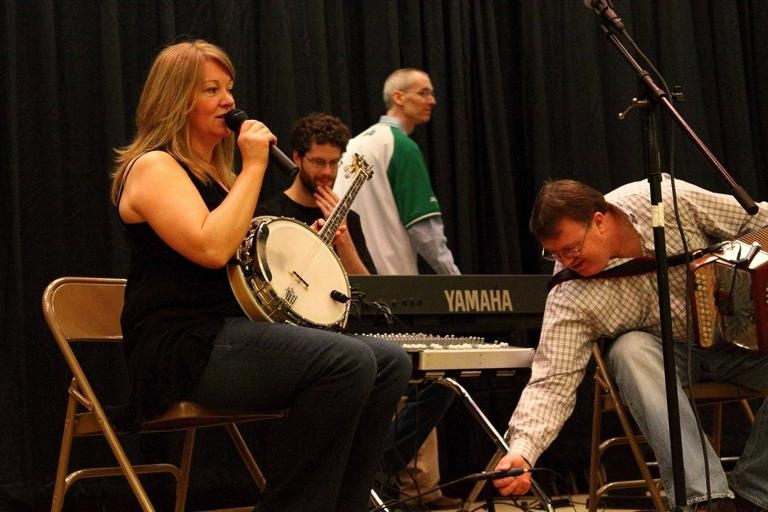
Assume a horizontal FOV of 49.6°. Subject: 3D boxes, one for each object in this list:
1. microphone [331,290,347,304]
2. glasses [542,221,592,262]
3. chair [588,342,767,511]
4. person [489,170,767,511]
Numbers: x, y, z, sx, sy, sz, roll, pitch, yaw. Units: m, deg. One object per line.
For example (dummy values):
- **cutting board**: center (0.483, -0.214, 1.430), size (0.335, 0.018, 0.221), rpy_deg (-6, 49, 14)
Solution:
- **microphone**: center (-0.176, 0.154, 3.234), size (0.061, 0.038, 0.028), rpy_deg (12, -28, -8)
- **glasses**: center (0.741, -0.057, 3.430), size (0.191, 0.107, 0.150), rpy_deg (-33, -1, -23)
- **chair**: center (1.222, 0.710, 3.394), size (0.743, 0.794, 0.600), rpy_deg (-1, 0, 13)
- **person**: center (1.035, 0.387, 3.568), size (1.000, 1.312, 0.997), rpy_deg (22, -34, -31)
